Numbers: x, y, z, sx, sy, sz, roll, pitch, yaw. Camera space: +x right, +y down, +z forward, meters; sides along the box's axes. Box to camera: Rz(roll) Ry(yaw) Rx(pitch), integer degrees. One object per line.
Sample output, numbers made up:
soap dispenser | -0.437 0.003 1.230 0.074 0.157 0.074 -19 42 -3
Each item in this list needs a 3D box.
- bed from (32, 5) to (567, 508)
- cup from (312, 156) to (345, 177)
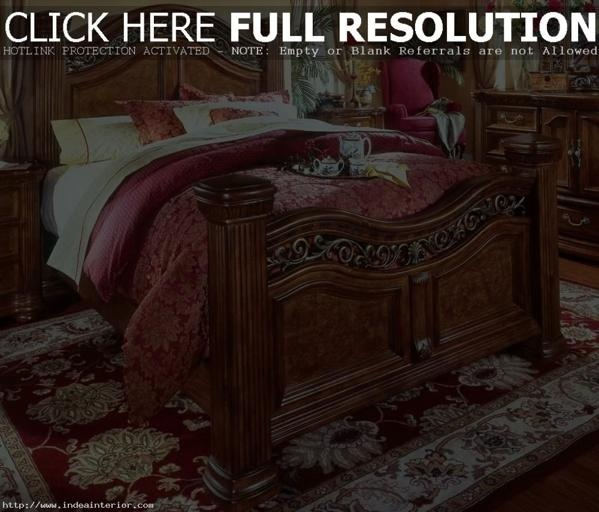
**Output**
bed | -0.109 -0.097 2.039 1.331 0.893 1.544 -9 13 -35
cup | 0.122 -0.371 2.072 0.085 0.068 0.125 -10 17 -34
